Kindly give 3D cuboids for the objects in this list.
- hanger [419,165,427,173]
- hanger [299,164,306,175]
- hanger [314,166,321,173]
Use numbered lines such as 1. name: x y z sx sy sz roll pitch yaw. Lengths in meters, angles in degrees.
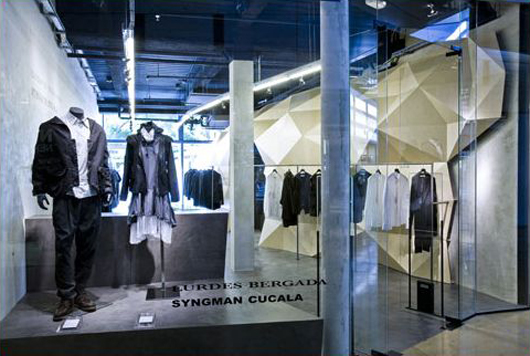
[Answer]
1. hanger: 2.342 -0.139 6.273 0.005 0.151 0.111 1 0 -38
2. hanger: 0.483 -0.111 5.602 0.126 0.137 0.008 -2 -3 2
3. hanger: 0.642 -0.092 5.170 0.048 0.040 0.075 4 -13 -24
